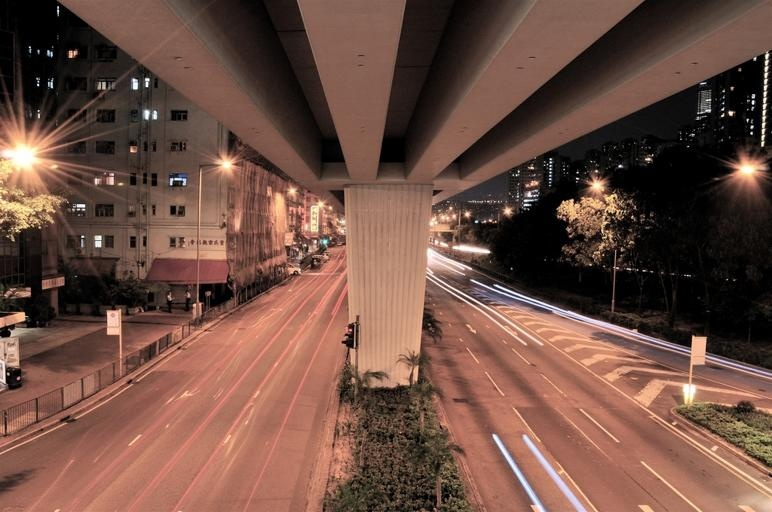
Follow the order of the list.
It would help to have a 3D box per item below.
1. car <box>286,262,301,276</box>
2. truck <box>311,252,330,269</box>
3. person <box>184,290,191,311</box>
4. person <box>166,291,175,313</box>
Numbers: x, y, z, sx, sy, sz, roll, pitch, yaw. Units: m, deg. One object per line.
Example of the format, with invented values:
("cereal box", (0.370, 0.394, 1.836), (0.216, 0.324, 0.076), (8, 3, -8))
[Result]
("car", (-14.530, 2.091, 86.476), (2.617, 1.565, 1.720), (-2, 5, -2))
("truck", (-12.171, 1.201, 99.912), (2.110, 1.685, 4.774), (1, 8, 8))
("person", (-20.156, 4.522, 56.671), (0.536, 2.225, 1.391), (3, -7, -20))
("person", (-22.025, 4.677, 56.619), (0.877, 2.970, 1.104), (-3, 19, -17))
